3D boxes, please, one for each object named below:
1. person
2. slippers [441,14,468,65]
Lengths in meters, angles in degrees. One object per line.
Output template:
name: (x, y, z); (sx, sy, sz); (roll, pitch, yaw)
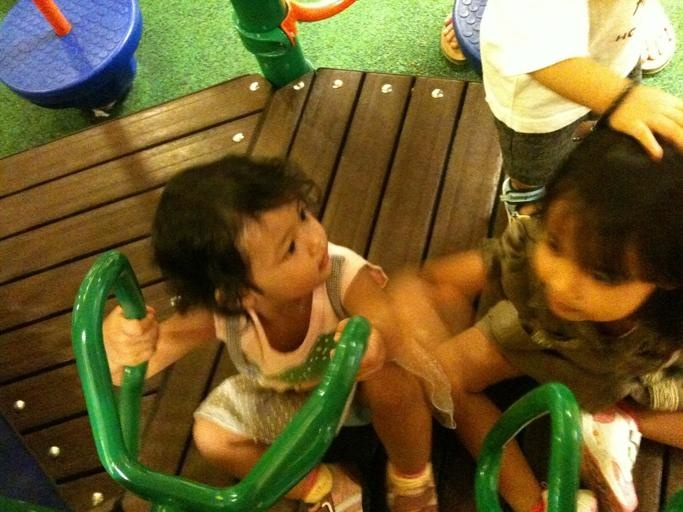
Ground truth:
person: (0.159, 0.041, 1.424); (1.091, 0.258, 1.087); (15, 70, 41)
slippers: (0.393, -0.763, 2.038); (0.093, 0.035, 0.171); (1, 89, 25)
